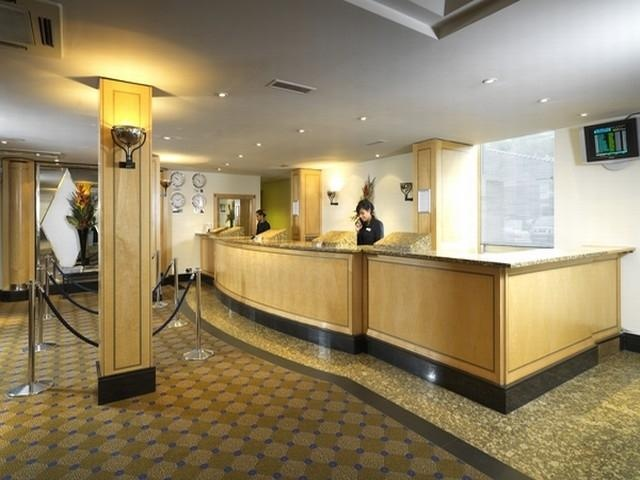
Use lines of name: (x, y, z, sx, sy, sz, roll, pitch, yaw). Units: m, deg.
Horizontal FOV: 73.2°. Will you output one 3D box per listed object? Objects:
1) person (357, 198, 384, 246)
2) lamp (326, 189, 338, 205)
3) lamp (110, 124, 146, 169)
person: (0.862, -0.335, 7.465, 0.450, 0.831, 1.425, 1, 13, 5)
lamp: (0.395, -1.143, 11.486, 0.371, 0.458, 0.341, 0, -2, 5)
lamp: (-2.178, -1.036, 5.001, 0.466, 0.510, 0.413, 0, 0, -35)
